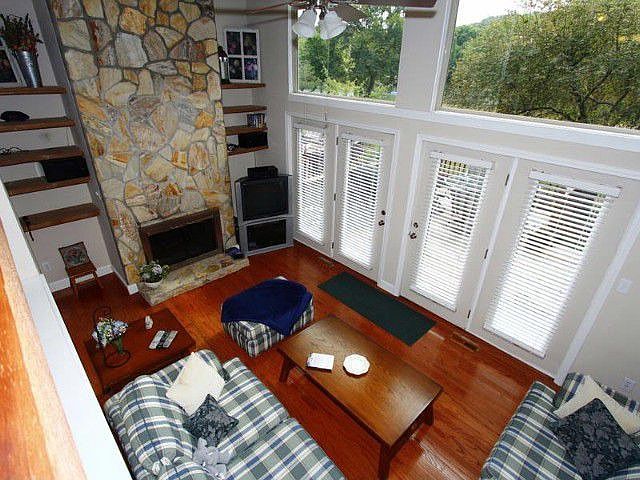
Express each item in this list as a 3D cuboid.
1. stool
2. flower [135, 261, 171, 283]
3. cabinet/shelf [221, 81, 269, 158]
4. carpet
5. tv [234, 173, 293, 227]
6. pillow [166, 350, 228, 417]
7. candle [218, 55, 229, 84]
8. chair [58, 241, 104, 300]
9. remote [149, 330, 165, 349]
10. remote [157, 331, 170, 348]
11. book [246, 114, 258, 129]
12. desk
[{"bbox_3d":[-0.682,0.912,5.097,0.998,0.452,0.983,-27,38,-37],"label":"stool"},{"bbox_3d":[-2.436,0.454,5.787,0.341,0.238,0.331,5,16,20],"label":"flower"},{"bbox_3d":[-1.305,-2.118,6.804,1.167,1.065,0.379,-14,23,-36],"label":"cabinet/shelf"},{"bbox_3d":[0.854,0.995,5.663,1.626,0.019,0.684,26,38,38],"label":"carpet"},{"bbox_3d":[-1.069,-0.757,6.886,1.055,0.774,0.566,-14,29,-31],"label":"tv"},{"bbox_3d":[-1.226,1.431,3.924,0.144,0.458,0.477,-32,23,41],"label":"pillow"},{"bbox_3d":[-1.494,-2.654,6.161,0.132,0.387,0.557,-6,28,-8],"label":"candle"},{"bbox_3d":[-3.526,0.432,5.825,0.386,0.703,0.497,-20,33,-31],"label":"chair"},{"bbox_3d":[-1.904,1.154,4.605,0.117,0.008,0.272,6,29,2],"label":"remote"},{"bbox_3d":[-1.823,1.154,4.627,0.110,0.023,0.278,1,30,-1],"label":"remote"},{"bbox_3d":[-1.198,-2.107,6.983,0.269,0.259,0.145,10,21,43],"label":"book"},{"bbox_3d":[0.502,1.488,4.115,1.168,0.697,1.888,-21,36,-35],"label":"desk"}]
